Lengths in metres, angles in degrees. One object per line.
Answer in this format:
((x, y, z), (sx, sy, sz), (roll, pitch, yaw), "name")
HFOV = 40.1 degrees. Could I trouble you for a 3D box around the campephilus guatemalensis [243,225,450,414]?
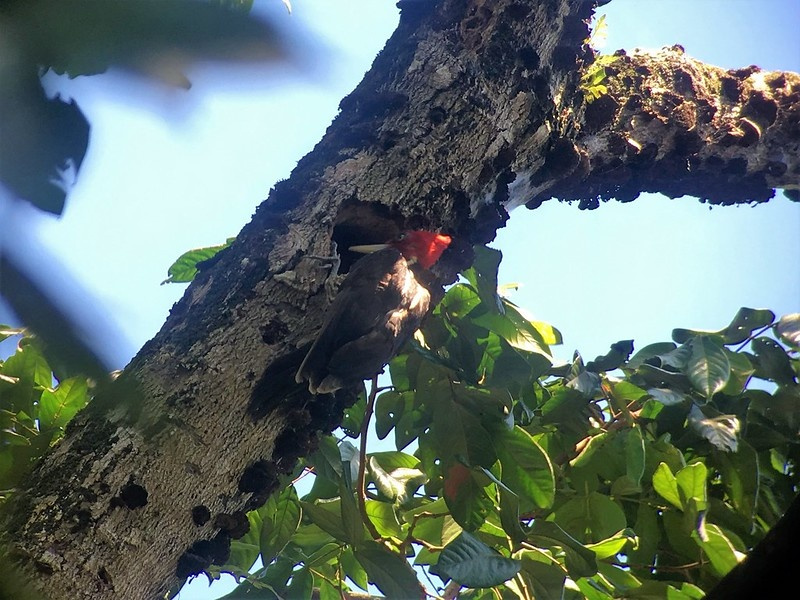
((-0.193, 0.109, 5.046), (0.563, 1.272, 0.419), (24, -46, 0), "campephilus guatemalensis")
